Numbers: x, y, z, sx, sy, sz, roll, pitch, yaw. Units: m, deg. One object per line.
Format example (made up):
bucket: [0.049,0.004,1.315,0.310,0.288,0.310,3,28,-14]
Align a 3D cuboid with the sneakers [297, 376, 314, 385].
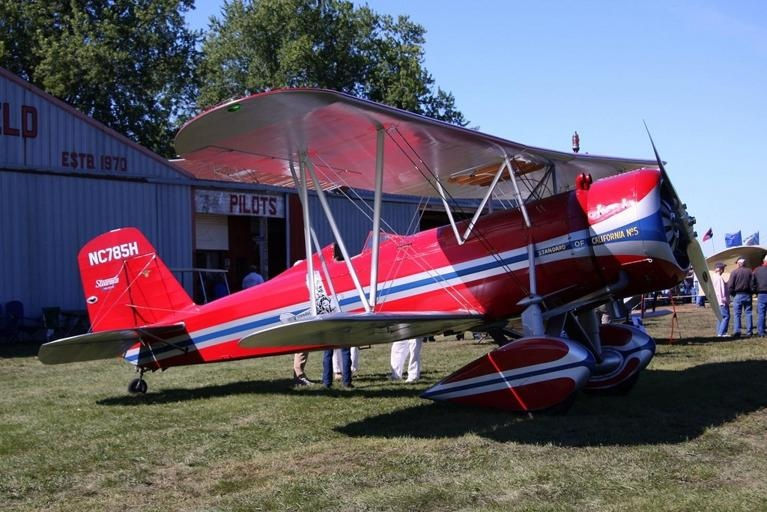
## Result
sneakers: [-1.395,2.179,13.117,0.338,0.132,0.115,0,3,34]

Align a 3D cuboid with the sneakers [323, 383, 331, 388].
sneakers: [-0.965,2.207,12.781,0.096,0.045,0.127,1,-1,0]

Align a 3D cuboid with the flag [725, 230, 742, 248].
flag: [21.553,-1.015,46.156,0.725,0.946,2.226,1,10,21]

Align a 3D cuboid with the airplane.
airplane: [-0.333,-1.329,18.887,16.122,4.719,18.139,1,10,23]

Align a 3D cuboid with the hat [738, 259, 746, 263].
hat: [8.339,0.112,17.508,0.061,0.097,0.175,12,-7,-38]
